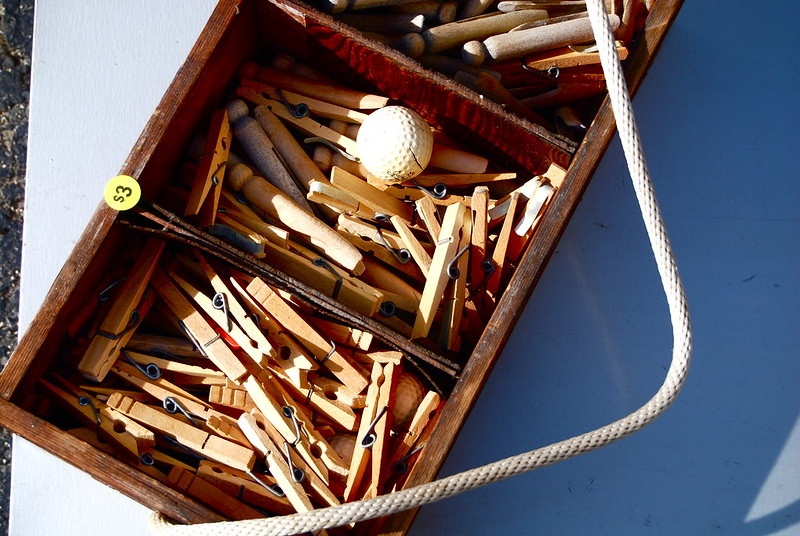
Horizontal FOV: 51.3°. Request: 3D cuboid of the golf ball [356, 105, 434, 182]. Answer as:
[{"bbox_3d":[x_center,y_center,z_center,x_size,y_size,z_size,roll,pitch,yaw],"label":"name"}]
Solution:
[{"bbox_3d":[-0.019,-0.353,2.415,0.191,0.195,0.217,9,-61,54],"label":"golf ball"}]
